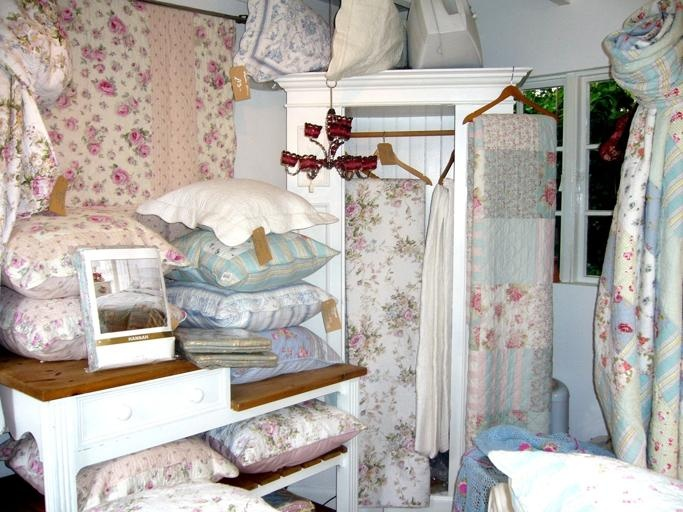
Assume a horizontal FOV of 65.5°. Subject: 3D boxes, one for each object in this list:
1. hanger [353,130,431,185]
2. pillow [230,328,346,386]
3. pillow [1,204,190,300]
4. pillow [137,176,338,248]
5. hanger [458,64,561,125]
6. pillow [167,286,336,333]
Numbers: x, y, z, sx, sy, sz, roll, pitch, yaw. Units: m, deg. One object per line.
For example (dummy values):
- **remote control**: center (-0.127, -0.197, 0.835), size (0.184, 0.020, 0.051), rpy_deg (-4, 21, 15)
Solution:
- **hanger**: center (0.273, -0.540, 2.859), size (0.368, 0.215, 0.026), rpy_deg (1, 3, -14)
- **pillow**: center (-0.204, 0.373, 2.048), size (0.272, 0.078, 0.199), rpy_deg (-3, 8, -35)
- **pillow**: center (-0.860, -0.035, 1.722), size (0.380, 0.111, 0.378), rpy_deg (-7, 28, -30)
- **pillow**: center (-0.445, -0.193, 1.999), size (0.384, 0.114, 0.423), rpy_deg (15, 17, 34)
- **hanger**: center (0.860, -0.833, 2.712), size (0.542, 0.327, 0.039), rpy_deg (1, 5, -7)
- **pillow**: center (-0.380, 0.178, 2.042), size (0.311, 0.090, 0.279), rpy_deg (-2, 7, -35)
